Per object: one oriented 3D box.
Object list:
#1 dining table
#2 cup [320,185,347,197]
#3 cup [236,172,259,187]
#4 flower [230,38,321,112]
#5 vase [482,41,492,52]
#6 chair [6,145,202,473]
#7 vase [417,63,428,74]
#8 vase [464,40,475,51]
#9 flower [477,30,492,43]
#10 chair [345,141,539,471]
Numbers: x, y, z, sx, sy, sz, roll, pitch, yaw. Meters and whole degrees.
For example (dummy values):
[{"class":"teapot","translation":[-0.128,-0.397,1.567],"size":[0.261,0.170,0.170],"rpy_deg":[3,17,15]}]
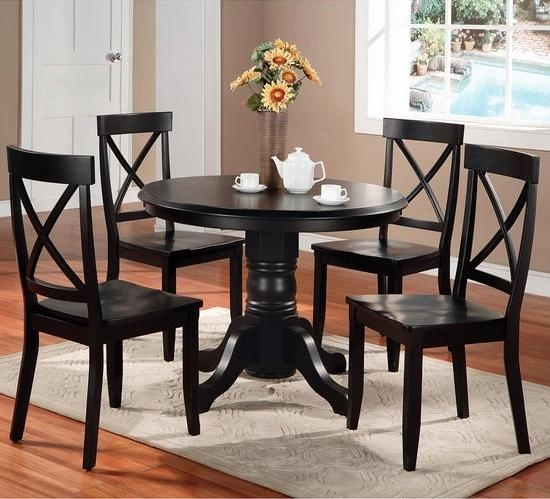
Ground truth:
[{"class":"dining table","translation":[-0.029,0.164,2.112],"size":[1.033,0.764,1.001],"rpy_deg":[-3,9,-28]},{"class":"cup","translation":[0.192,-0.194,1.742],"size":[0.099,0.051,0.074],"rpy_deg":[3,4,13]},{"class":"cup","translation":[-0.111,-0.268,1.999],"size":[0.109,0.074,0.081],"rpy_deg":[-2,12,-13]},{"class":"flower","translation":[-0.006,-0.670,2.014],"size":[0.242,0.303,0.268],"rpy_deg":[-4,8,-39]},{"class":"vase","translation":[2.229,-2.135,5.483],"size":[0.085,0.064,0.085],"rpy_deg":[2,15,13]},{"class":"chair","translation":[-0.514,0.147,1.620],"size":[0.425,0.901,0.451],"rpy_deg":[6,8,39]},{"class":"vase","translation":[1.574,-1.939,5.616],"size":[0.116,0.091,0.109],"rpy_deg":[3,8,24]},{"class":"vase","translation":[2.074,-2.186,5.585],"size":[0.111,0.087,0.104],"rpy_deg":[-15,26,-33]},{"class":"flower","translation":[2.195,-2.210,5.425],"size":[0.105,0.083,0.133],"rpy_deg":[5,14,19]},{"class":"chair","translation":[0.514,0.138,1.640],"size":[0.505,0.962,0.412],"rpy_deg":[0,6,-14]}]
